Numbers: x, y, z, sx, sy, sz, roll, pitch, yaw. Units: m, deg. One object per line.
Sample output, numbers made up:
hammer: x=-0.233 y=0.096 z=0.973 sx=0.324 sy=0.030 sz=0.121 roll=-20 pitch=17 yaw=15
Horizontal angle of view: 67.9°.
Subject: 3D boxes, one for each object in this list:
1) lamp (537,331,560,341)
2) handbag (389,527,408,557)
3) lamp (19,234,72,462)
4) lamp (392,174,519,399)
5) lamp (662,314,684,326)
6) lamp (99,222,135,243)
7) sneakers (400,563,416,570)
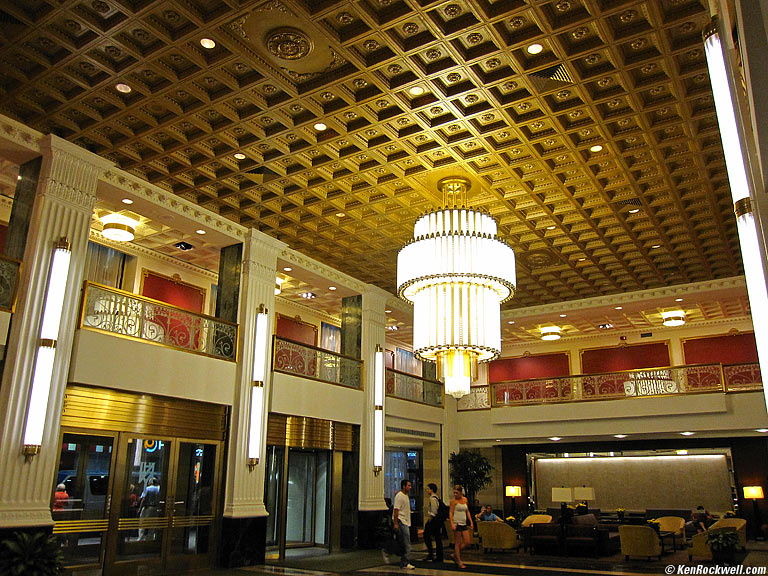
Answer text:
lamp: x=5.274 y=1.500 z=18.184 sx=0.495 sy=0.226 sz=0.717 roll=-4 pitch=-20 yaw=6
handbag: x=0.263 y=4.554 z=10.256 sx=0.351 sy=0.529 sz=0.665 roll=-3 pitch=-20 yaw=2
lamp: x=-4.794 y=0.780 z=8.126 sx=0.308 sy=3.074 sz=0.635 roll=10 pitch=-25 yaw=-28
lamp: x=1.238 y=0.043 z=9.648 sx=1.948 sy=3.219 sz=1.271 roll=-6 pitch=-22 yaw=9
lamp: x=8.245 y=0.856 z=16.273 sx=0.532 sy=0.329 sz=0.488 roll=0 pitch=-5 yaw=4
lamp: x=-5.205 y=-1.113 z=11.150 sx=0.552 sy=0.233 sz=0.490 roll=4 pitch=-21 yaw=-16
sneakers: x=0.434 y=4.956 z=10.156 sx=0.217 sy=0.075 sz=0.108 roll=-7 pitch=-24 yaw=24
